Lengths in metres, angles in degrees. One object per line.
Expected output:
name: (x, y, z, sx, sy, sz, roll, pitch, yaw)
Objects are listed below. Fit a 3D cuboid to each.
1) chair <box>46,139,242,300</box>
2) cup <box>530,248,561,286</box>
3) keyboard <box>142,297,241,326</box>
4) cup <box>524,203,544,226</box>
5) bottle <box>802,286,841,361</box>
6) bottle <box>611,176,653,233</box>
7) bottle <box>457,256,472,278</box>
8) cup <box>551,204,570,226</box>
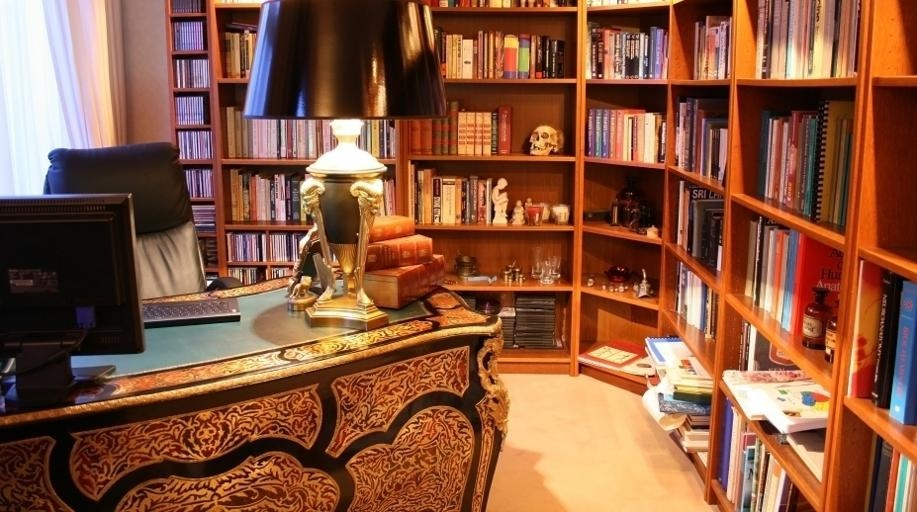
chair: (-1.805, -0.170, 4.107, 0.989, 1.248, 1.107, 2, 0, 0)
cup: (0.653, 0.084, 4.746, 0.312, 0.242, 0.194, -3, 8, -37)
keyboard: (-1.231, 0.231, 2.953, 0.353, 0.038, 0.177, -2, 24, -22)
cup: (0.558, -0.298, 4.664, 0.152, 0.157, 0.149, -1, 13, 0)
bottle: (1.569, 0.288, 2.772, 0.126, 0.277, 0.257, 5, 14, 28)
bottle: (1.248, -0.351, 4.538, 0.142, 0.338, 0.380, -11, 17, -34)
bottle: (0.053, 0.082, 4.799, 0.148, 0.127, 0.132, -12, 22, -31)
cup: (0.745, -0.298, 4.698, 0.144, 0.140, 0.141, -2, 13, 1)
